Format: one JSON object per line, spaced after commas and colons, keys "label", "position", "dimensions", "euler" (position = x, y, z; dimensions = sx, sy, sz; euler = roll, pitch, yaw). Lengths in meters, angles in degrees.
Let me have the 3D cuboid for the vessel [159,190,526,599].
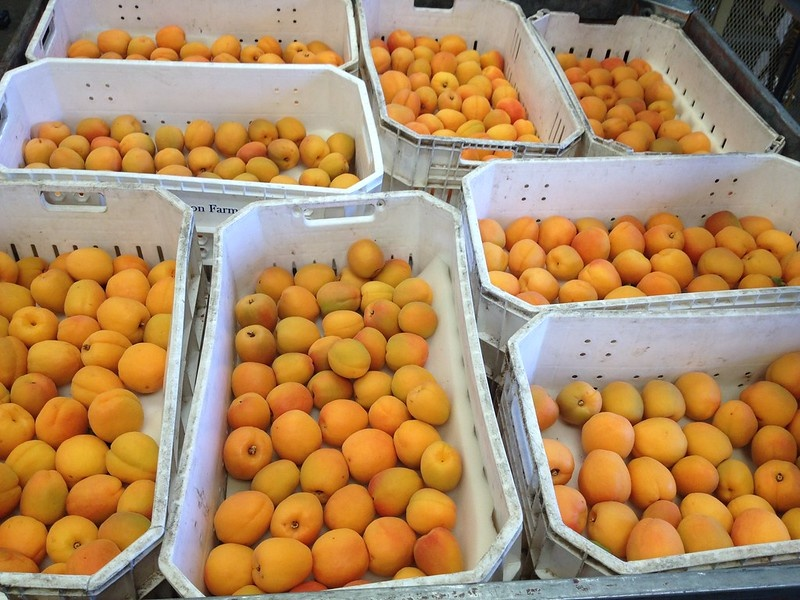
{"label": "vessel", "position": [-0.206, 0.271, 2.635], "dimensions": [1.160, 0.453, 1.742], "euler": [1, 57, -4]}
